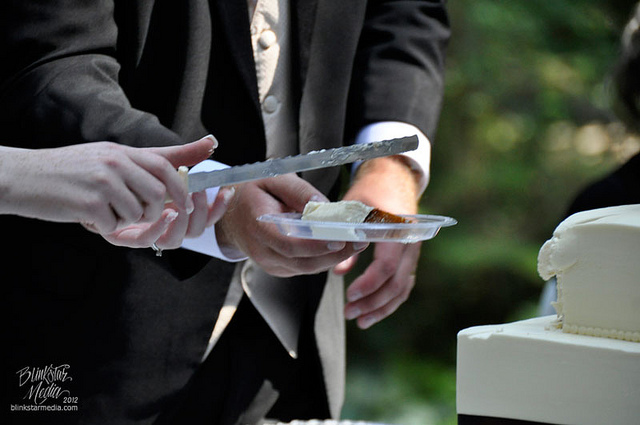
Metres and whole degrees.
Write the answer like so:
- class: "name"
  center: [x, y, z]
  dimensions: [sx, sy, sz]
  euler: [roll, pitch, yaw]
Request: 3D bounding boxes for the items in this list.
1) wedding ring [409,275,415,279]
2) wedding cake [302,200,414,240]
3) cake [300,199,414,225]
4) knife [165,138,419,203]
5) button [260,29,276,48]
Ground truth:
- class: "wedding ring"
  center: [0.419, 0.299, 4.083]
  dimensions: [0.035, 0.017, 0.041]
  euler: [-1, -3, 8]
- class: "wedding cake"
  center: [0.139, 0.032, 3.468]
  dimensions: [0.329, 0.120, 0.189]
  euler: [5, 2, 10]
- class: "cake"
  center: [0.143, 0.006, 3.525]
  dimensions: [0.324, 0.074, 0.177]
  euler: [3, 1, 5]
- class: "knife"
  center: [-0.128, -0.183, 3.744]
  dimensions: [0.825, 0.125, 0.089]
  euler: [-13, 37, -16]
- class: "button"
  center: [-0.240, -0.798, 4.041]
  dimensions: [0.067, 0.041, 0.072]
  euler: [10, 85, -18]
